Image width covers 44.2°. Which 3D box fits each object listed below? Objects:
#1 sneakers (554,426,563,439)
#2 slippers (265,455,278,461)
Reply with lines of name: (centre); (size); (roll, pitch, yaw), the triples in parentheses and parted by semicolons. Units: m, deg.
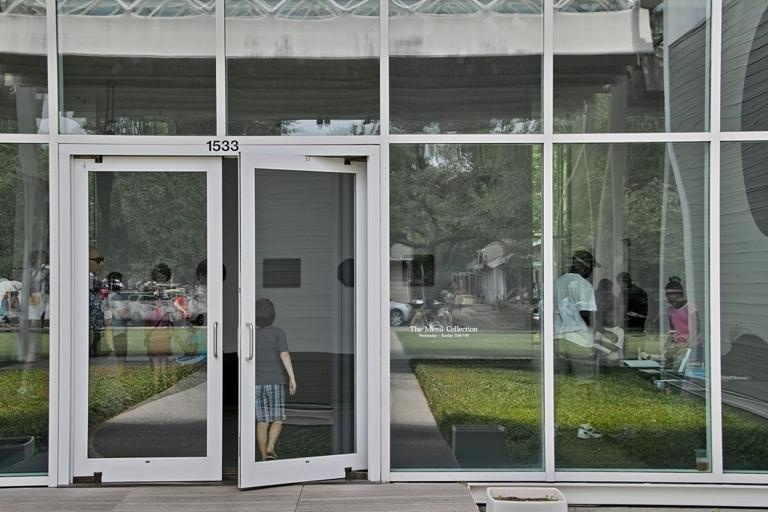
sneakers: (1.884, 1.906, 10.195); (0.105, 0.077, 0.112); (5, 3, -42)
slippers: (-1.198, 2.143, 10.039); (0.100, 0.047, 0.057); (12, -9, -14)
